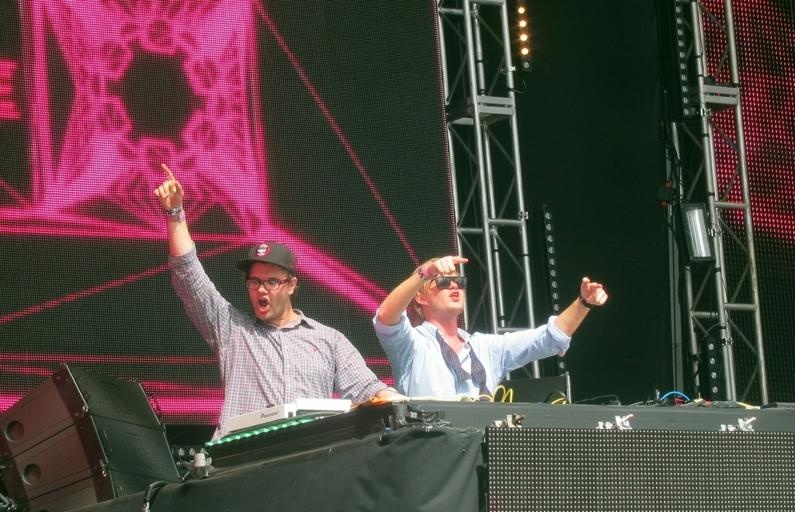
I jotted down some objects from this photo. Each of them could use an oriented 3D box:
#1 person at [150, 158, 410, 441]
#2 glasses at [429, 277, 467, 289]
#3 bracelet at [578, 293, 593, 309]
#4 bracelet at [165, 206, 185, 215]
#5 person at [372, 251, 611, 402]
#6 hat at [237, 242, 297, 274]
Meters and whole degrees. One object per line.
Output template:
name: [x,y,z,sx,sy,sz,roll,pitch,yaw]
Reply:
person: [-0.853,0.222,8.886,1.152,1.455,0.297,-8,-6,-9]
glasses: [0.302,0.154,8.718,0.205,0.084,0.393,-7,-7,1]
bracelet: [1.174,0.279,8.928,0.084,0.082,0.087,-12,12,33]
bracelet: [-1.401,-0.271,8.794,0.121,0.055,0.059,-3,-8,-36]
person: [0.464,0.445,8.789,1.279,0.764,0.814,-4,-8,-30]
hat: [-0.810,0.019,8.994,0.293,0.119,0.213,24,-18,-38]
